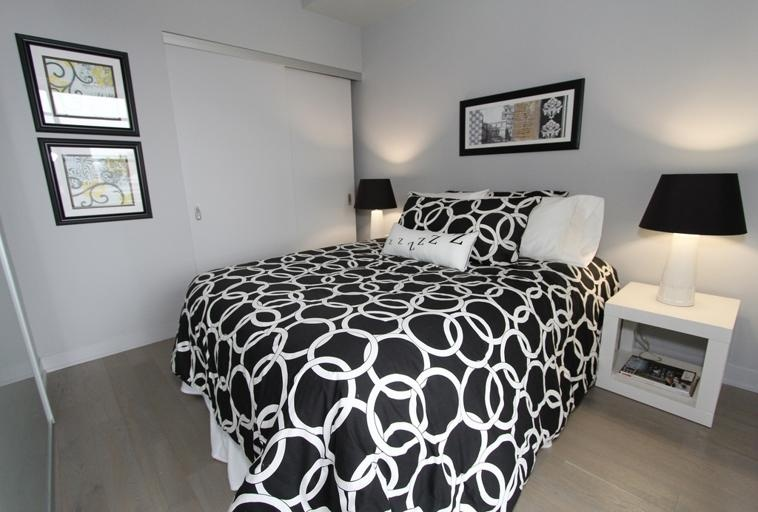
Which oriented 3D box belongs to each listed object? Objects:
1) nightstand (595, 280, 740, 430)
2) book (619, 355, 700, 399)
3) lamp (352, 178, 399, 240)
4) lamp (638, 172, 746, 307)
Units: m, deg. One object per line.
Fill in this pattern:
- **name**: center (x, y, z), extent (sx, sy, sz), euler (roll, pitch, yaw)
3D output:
- **nightstand**: center (2.056, 0.665, 3.540), extent (0.668, 0.748, 0.484), euler (11, 23, 18)
- **book**: center (2.042, 0.844, 3.527), extent (0.283, 0.081, 0.312), euler (-9, 13, -37)
- **lamp**: center (0.000, -0.521, 5.398), extent (0.535, 0.907, 0.600), euler (-5, 11, -8)
- **lamp**: center (2.178, -0.114, 3.491), extent (0.618, 0.936, 0.631), euler (8, 3, -32)
